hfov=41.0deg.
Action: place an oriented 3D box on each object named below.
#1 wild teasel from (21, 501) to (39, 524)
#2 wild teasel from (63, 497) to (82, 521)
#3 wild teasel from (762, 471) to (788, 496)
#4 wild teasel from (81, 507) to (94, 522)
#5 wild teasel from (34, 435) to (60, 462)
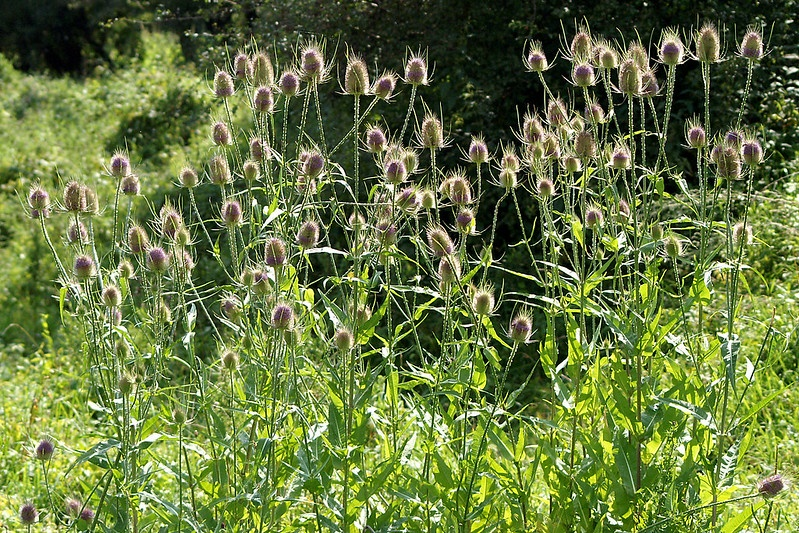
[{"bbox_3d":[-2.103,1.395,6.112,0.103,0.121,0.113,-3,-3,-21],"label":"wild teasel"},{"bbox_3d":[-1.837,1.369,6.085,0.088,0.124,0.120,8,22,-11],"label":"wild teasel"},{"bbox_3d":[2.023,1.162,5.757,0.130,0.097,0.054,-21,12,0],"label":"wild teasel"},{"bbox_3d":[-1.765,1.404,6.058,0.076,0.081,0.077,0,-2,-2],"label":"wild teasel"},{"bbox_3d":[-2.024,1.050,6.181,0.113,0.126,0.150,-15,1,-2],"label":"wild teasel"}]
